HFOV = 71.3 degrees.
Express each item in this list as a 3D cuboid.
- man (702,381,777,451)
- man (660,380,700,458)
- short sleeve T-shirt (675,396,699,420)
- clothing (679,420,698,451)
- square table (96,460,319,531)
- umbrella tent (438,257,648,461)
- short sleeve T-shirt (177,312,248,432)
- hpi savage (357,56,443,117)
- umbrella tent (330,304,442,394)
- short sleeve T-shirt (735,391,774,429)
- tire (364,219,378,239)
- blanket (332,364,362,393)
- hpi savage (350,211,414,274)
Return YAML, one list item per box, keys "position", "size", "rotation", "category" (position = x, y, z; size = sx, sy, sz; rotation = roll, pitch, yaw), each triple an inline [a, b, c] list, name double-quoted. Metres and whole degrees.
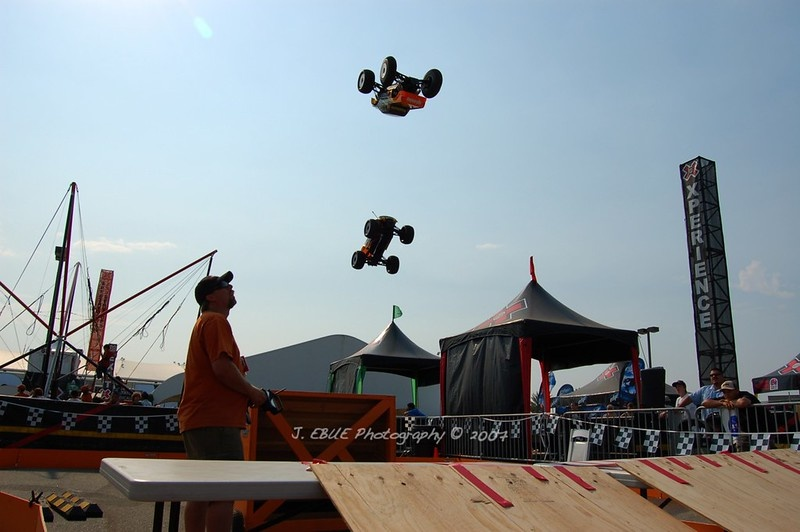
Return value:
- position: [5.109, 2.280, 8.548]
  size: [1.163, 0.770, 1.197]
  rotation: [3, -14, -9]
  category: "man"
- position: [4.556, 2.525, 8.950]
  size: [0.401, 1.304, 0.430]
  rotation: [31, -37, -34]
  category: "man"
- position: [4.729, 2.338, 9.174]
  size: [0.276, 0.560, 0.404]
  rotation: [-9, -18, 30]
  category: "short sleeve T-shirt"
- position: [4.479, 2.679, 8.715]
  size: [0.299, 0.510, 0.502]
  rotation: [-5, -14, 27]
  category: "clothing"
- position: [-1.058, 1.239, 3.168]
  size: [1.278, 0.238, 0.434]
  rotation: [4, -13, -9]
  category: "square table"
- position: [2.680, 2.770, 14.517]
  size: [4.872, 6.317, 4.380]
  rotation: [9, -20, -22]
  category: "umbrella tent"
- position: [-1.387, 0.863, 4.166]
  size: [0.586, 1.025, 0.947]
  rotation: [2, -20, -21]
  category: "short sleeve T-shirt"
- position: [-0.050, -4.662, 14.476]
  size: [1.582, 1.014, 2.062]
  rotation: [7, 7, -29]
  category: "hpi savage"
- position: [-0.075, 3.175, 18.946]
  size: [4.437, 2.769, 3.345]
  rotation: [9, -15, -29]
  category: "umbrella tent"
- position: [5.219, 2.166, 8.247]
  size: [0.374, 0.571, 0.662]
  rotation: [-1, -13, 13]
  category: "short sleeve T-shirt"
- position: [-0.839, -1.047, 16.562]
  size: [0.354, 0.537, 0.331]
  rotation: [4, -13, -9]
  category: "tire"
- position: [-1.609, 3.515, 17.444]
  size: [0.412, 0.850, 2.525]
  rotation: [5, -14, -15]
  category: "blanket"
- position: [-0.427, -0.937, 16.634]
  size: [1.579, 1.972, 0.683]
  rotation: [19, -50, -8]
  category: "hpi savage"
